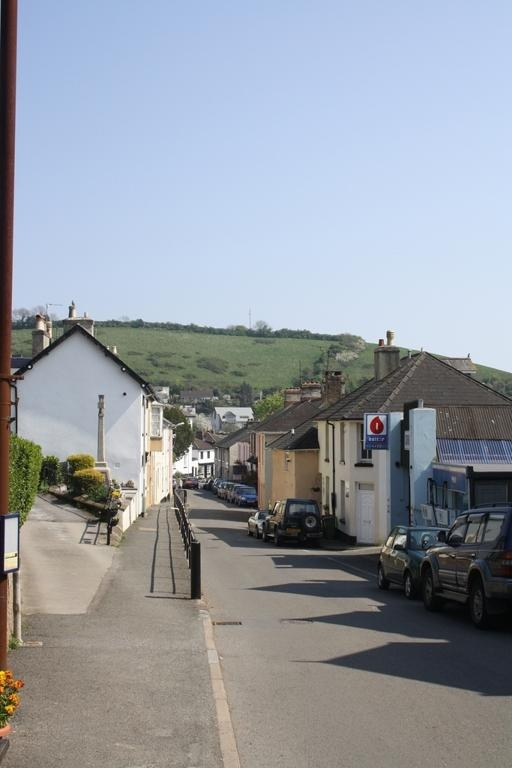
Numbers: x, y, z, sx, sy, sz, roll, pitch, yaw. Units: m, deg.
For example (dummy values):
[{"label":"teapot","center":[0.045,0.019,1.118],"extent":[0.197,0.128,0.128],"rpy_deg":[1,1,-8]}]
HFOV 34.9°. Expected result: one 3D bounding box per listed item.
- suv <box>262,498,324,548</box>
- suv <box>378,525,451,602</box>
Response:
[{"label":"suv","center":[1.424,5.454,32.537],"extent":[1.269,1.313,2.470],"rpy_deg":[2,-3,-7]},{"label":"suv","center":[3.323,3.719,17.223],"extent":[0.939,0.988,1.791],"rpy_deg":[2,-15,-12]}]
